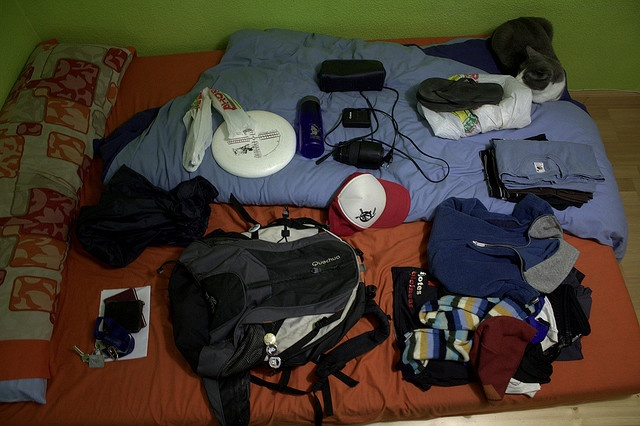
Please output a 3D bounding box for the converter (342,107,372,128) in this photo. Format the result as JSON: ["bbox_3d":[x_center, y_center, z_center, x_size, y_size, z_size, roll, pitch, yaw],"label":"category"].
[{"bbox_3d":[0.189,-0.489,2.813,0.115,0.110,0.029,0,-28,1],"label":"converter"}]

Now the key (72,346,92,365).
[{"bbox_3d":[-1.103,0.652,2.469,0.052,0.091,0.022,-44,-12,-5],"label":"key"}]

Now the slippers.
[{"bbox_3d":[0.704,-0.606,2.729,0.320,0.213,0.065,0,-36,3],"label":"slippers"}]

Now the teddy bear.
[{"bbox_3d":[1.135,-0.796,2.970,0.320,0.519,0.267,-9,-10,9],"label":"teddy bear"}]

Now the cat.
[{"bbox_3d":[1.140,-0.845,2.867,0.339,0.525,0.248,-17,-12,18],"label":"cat"}]
